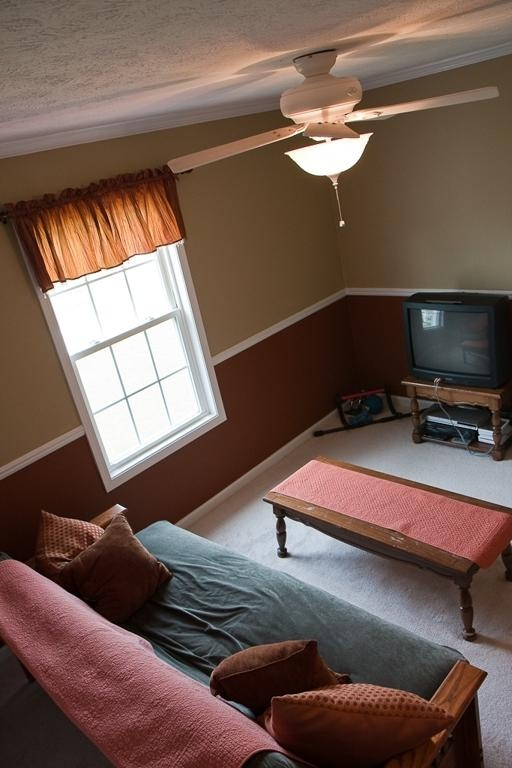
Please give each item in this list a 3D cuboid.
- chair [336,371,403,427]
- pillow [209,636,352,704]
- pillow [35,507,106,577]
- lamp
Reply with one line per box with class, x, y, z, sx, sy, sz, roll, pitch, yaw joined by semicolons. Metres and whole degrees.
chair;1.032;0.135;5.240;0.594;0.339;0.653;-14;17;6
pillow;0.036;0.885;1.727;0.292;0.133;0.288;-7;-3;-7
pillow;-0.960;0.772;2.798;0.253;0.076;0.256;17;30;9
lamp;0.297;-0.725;2.107;0.313;0.332;0.304;-24;25;-22
